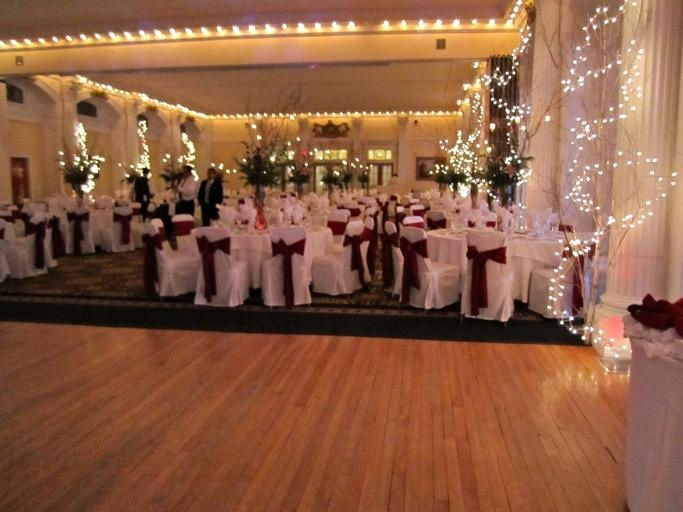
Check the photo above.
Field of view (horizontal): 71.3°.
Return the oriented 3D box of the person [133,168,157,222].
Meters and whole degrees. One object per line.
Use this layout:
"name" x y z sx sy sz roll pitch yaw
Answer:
"person" -4.963 -1.444 11.813 0.489 1.626 0.424 0 28 -24
